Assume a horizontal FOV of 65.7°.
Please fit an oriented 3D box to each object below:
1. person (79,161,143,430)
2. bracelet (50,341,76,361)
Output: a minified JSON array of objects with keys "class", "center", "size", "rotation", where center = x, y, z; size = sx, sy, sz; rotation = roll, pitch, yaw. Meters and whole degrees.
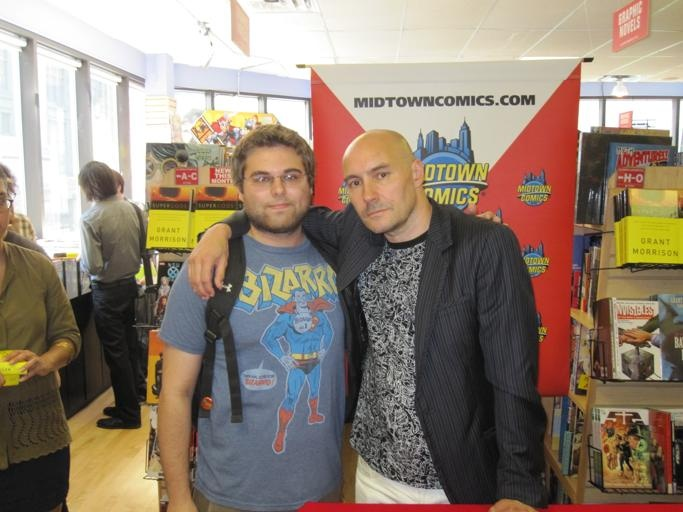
[{"class":"person","center":[-2.108,0.352,4.934],"size":[0.523,2.434,0.551],"rotation":[-2,7,-22]},{"class":"bracelet","center":[-1.383,0.472,2.658],"size":[0.085,0.093,0.092],"rotation":[-34,-4,37]}]
